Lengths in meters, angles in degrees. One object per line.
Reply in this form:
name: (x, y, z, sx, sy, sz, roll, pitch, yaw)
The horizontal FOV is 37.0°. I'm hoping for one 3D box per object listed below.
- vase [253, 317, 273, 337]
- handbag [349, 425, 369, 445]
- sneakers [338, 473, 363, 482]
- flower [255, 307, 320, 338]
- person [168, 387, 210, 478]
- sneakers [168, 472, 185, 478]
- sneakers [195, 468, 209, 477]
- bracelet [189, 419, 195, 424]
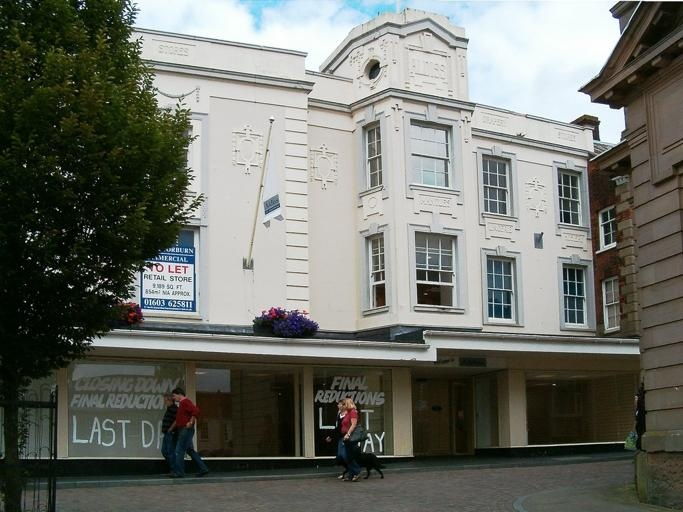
vase: (-1.965, 1.784, 25.665, 0.679, 0.457, 0.365, 2, -1, -10)
handbag: (0.381, 3.864, 22.156, 0.249, 0.358, 0.436, -9, -17, 26)
sneakers: (0.179, 4.875, 22.372, 0.596, 0.231, 0.199, -2, 1, 7)
flower: (-1.584, 1.759, 25.622, 0.908, 0.455, 1.067, 6, -8, -33)
person: (-3.448, 3.936, 22.973, 0.716, 1.992, 0.871, 0, -15, -6)
sneakers: (-3.657, 4.871, 22.714, 0.296, 0.136, 0.315, 1, -15, -10)
sneakers: (-3.168, 4.946, 23.239, 0.145, 0.166, 0.399, 6, -16, -25)
bracelet: (-3.348, 3.739, 22.869, 0.039, 0.114, 0.111, 25, -59, -4)
